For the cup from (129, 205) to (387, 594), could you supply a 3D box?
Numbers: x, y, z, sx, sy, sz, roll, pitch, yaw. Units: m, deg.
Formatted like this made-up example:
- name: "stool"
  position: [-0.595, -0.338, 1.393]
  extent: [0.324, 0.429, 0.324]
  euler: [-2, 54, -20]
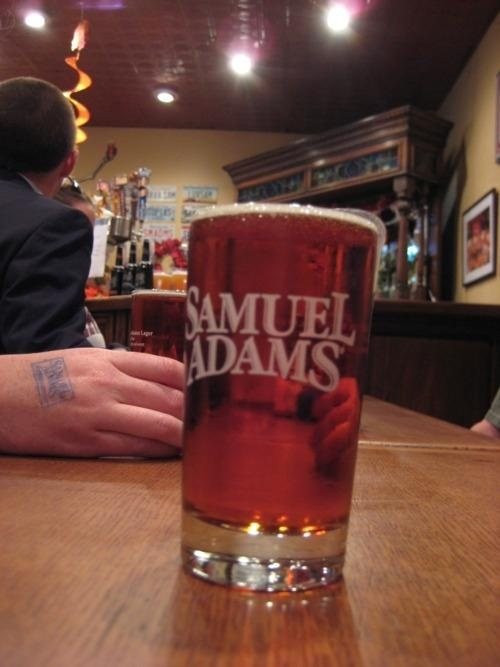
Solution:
- name: "cup"
  position: [0.038, 0.044, 0.329]
  extent: [0.150, 0.239, 0.153]
  euler: [1, -10, 0]
